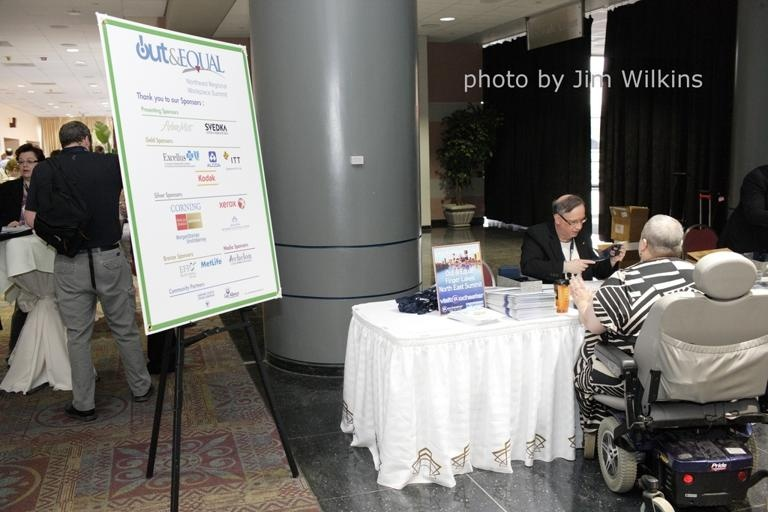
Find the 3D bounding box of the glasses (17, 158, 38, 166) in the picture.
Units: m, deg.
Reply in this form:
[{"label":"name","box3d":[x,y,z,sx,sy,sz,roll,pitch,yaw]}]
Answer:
[{"label":"glasses","box3d":[-3.351,-0.886,4.980,0.189,0.064,0.197,0,7,-5]}]

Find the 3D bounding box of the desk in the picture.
[{"label":"desk","box3d":[0.404,0.590,3.485,1.334,0.777,1.023,-2,11,-13]}]

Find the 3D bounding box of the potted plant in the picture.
[{"label":"potted plant","box3d":[1.923,-2.117,12.502,1.372,2.865,1.149,-1,12,6]}]

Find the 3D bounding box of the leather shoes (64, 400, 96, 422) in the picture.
[{"label":"leather shoes","box3d":[-2.299,1.186,4.035,0.244,0.107,0.108,12,7,22]}]

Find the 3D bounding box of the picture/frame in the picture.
[{"label":"picture/frame","box3d":[0.475,0.163,3.390,0.419,0.554,0.020,-7,8,-20]}]
